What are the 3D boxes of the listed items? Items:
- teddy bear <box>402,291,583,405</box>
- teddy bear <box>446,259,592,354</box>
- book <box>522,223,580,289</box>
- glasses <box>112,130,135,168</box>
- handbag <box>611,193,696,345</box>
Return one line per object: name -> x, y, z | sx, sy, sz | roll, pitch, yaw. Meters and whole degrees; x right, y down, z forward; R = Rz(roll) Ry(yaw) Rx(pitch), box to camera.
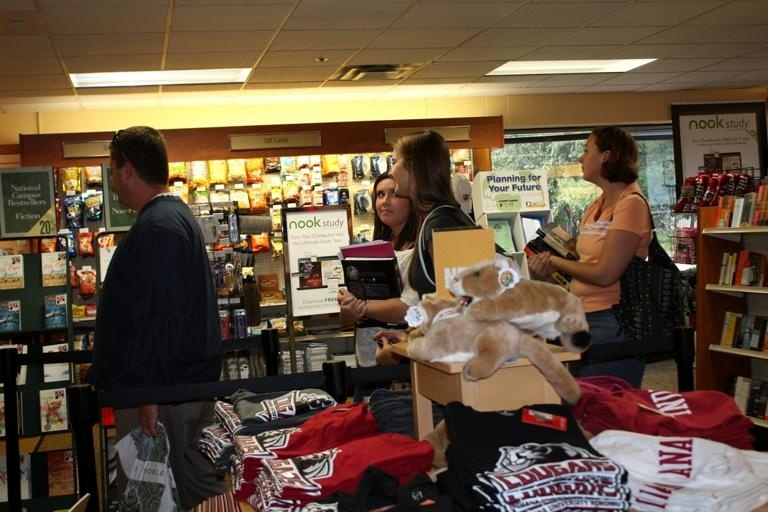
teddy bear -> 0.397, 0.336, 2.087 | 0.720, 0.249, 0.388 | 20, 14, 39
teddy bear -> 0.556, 0.190, 2.075 | 0.544, 0.213, 0.295 | 24, 9, 25
book -> 1.085, 0.015, 3.728 | 0.411, 0.140, 0.408 | 31, 39, 12
glasses -> -1.507, -0.613, 3.145 | 0.060, 0.179, 0.184 | 4, 29, -15
handbag -> 1.579, 0.175, 3.218 | 0.396, 0.556, 0.241 | -8, 6, -28
